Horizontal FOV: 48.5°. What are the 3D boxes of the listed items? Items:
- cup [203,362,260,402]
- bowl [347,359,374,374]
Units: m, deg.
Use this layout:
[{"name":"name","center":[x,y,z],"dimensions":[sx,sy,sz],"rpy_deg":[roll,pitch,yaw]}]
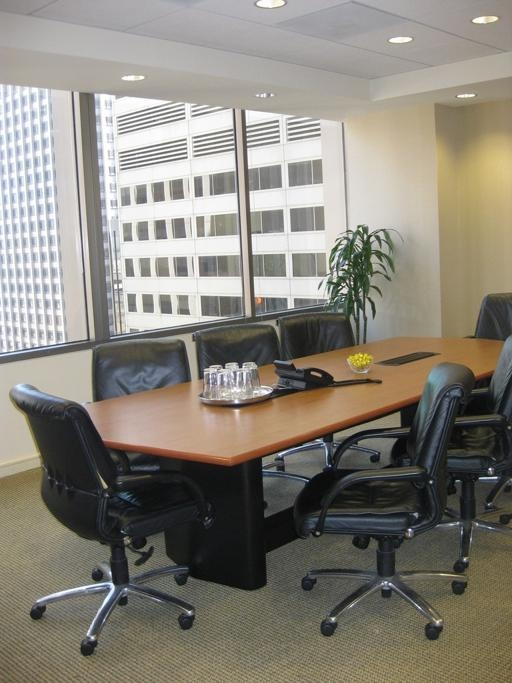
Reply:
[{"name":"cup","center":[-0.123,0.180,2.576],"dimensions":[0.195,0.111,0.178],"rpy_deg":[-1,1,0]},{"name":"bowl","center":[0.576,0.135,3.064],"dimensions":[0.083,0.045,0.080],"rpy_deg":[-1,5,0]}]
